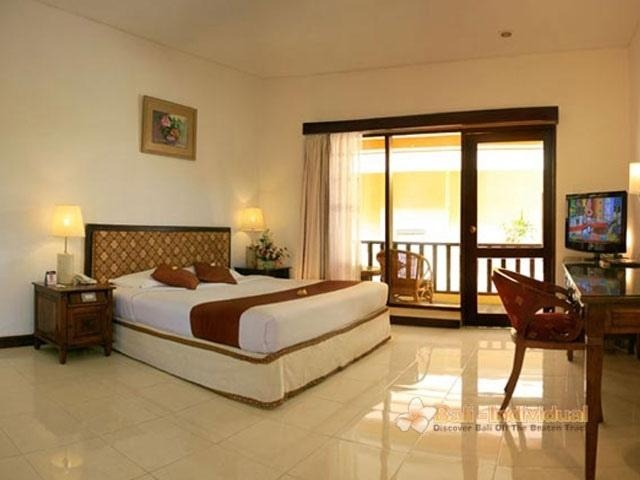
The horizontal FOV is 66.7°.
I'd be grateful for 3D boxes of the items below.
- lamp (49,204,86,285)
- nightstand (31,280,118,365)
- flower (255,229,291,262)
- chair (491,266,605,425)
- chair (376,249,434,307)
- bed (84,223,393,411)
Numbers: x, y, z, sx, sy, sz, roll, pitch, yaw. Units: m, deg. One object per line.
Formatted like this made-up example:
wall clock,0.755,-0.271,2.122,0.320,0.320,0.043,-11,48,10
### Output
lamp,-2.912,0.066,5.607,0.390,0.918,0.356,0,-2,-37
nightstand,-2.828,0.883,5.558,0.792,0.801,0.593,7,4,44
flower,-0.751,0.101,7.652,0.460,0.534,0.512,1,-2,14
chair,2.027,0.831,4.421,0.829,1.172,0.876,-3,6,10
chair,1.277,0.545,7.262,0.736,1.024,0.732,-2,-1,16
bed,-1.050,0.844,5.385,2.305,1.319,2.201,0,1,35
